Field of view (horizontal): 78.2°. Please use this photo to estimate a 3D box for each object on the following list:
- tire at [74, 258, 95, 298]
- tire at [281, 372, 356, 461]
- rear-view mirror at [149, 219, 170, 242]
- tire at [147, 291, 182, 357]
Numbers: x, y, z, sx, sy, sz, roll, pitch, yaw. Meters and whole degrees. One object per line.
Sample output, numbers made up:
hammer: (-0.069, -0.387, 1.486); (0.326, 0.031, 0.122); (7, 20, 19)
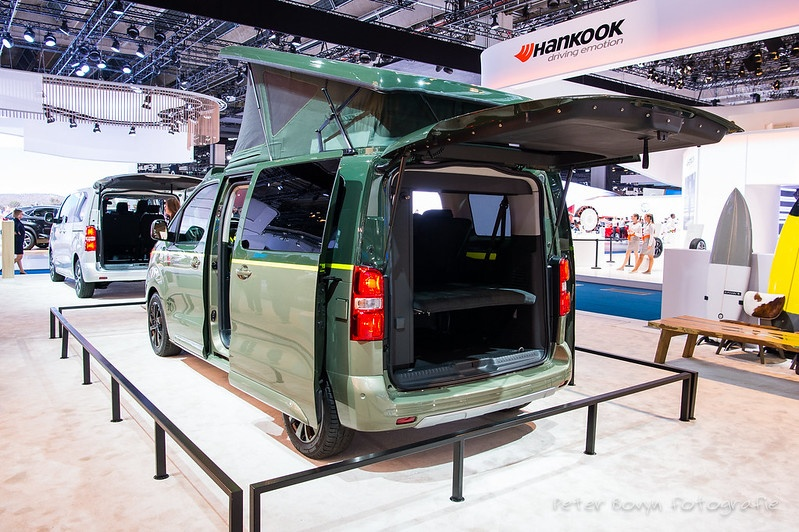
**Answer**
tire: (-6.470, 0.232, 10.117); (0.268, 0.760, 0.825); (-1, 8, -26)
tire: (-0.612, 1.158, 3.822); (0.294, 0.731, 0.577); (-3, 8, -32)
rear-view mirror: (-2.850, -0.430, 5.904); (0.284, 0.242, 0.287); (6, 5, 34)
tire: (-2.904, 0.711, 6.101); (0.315, 0.806, 0.879); (8, -12, -34)
